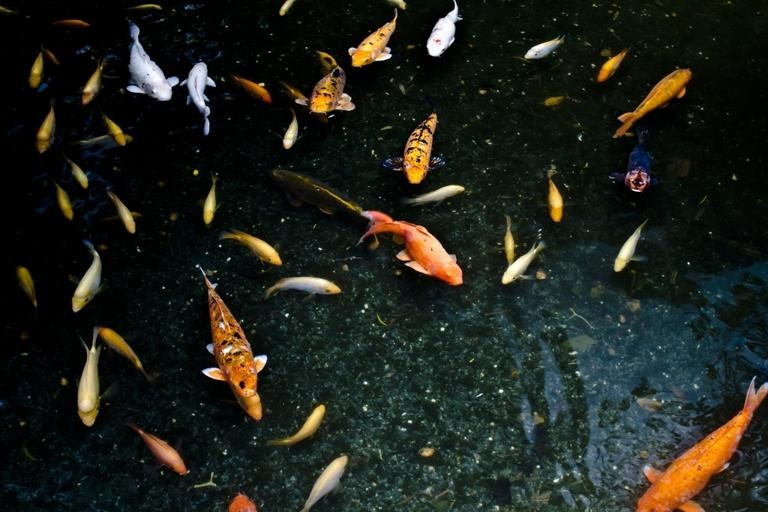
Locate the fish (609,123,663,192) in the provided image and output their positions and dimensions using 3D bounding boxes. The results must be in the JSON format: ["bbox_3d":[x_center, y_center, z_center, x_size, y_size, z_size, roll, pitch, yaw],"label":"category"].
[{"bbox_3d":[2.204,-0.764,8.161,0.418,0.273,0.621,-1,53,23],"label":"fish"}]

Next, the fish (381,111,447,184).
[{"bbox_3d":[0.271,-0.861,8.151,0.343,0.285,0.723,8,53,15],"label":"fish"}]

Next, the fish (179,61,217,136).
[{"bbox_3d":[-1.588,-1.322,8.188,0.267,0.268,0.669,-13,70,-23],"label":"fish"}]

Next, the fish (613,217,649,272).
[{"bbox_3d":[2.099,-0.027,7.991,0.149,0.213,0.538,21,66,18],"label":"fish"}]

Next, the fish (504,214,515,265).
[{"bbox_3d":[1.072,-0.154,8.080,0.089,0.103,0.369,2,73,2],"label":"fish"}]

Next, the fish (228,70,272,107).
[{"bbox_3d":[-1.168,-1.436,8.343,0.326,0.143,0.082,31,82,10],"label":"fish"}]

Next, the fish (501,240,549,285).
[{"bbox_3d":[1.195,0.076,8.084,0.334,0.142,0.096,-51,47,0],"label":"fish"}]

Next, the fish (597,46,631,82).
[{"bbox_3d":[1.960,-1.616,8.265,0.114,0.212,0.502,41,48,6],"label":"fish"}]

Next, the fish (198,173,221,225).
[{"bbox_3d":[-1.472,-0.477,8.152,0.099,0.196,0.416,3,61,-3],"label":"fish"}]

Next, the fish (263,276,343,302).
[{"bbox_3d":[-0.676,0.254,7.987,0.623,0.234,0.237,1,56,3],"label":"fish"}]

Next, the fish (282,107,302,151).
[{"bbox_3d":[-0.792,-1.080,8.224,0.103,0.129,0.326,6,81,-1],"label":"fish"}]

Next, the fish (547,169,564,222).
[{"bbox_3d":[1.470,-0.528,8.158,0.134,0.272,0.414,0,57,7],"label":"fish"}]

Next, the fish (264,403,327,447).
[{"bbox_3d":[-0.676,1.446,7.788,0.271,0.130,0.471,44,93,-8],"label":"fish"}]

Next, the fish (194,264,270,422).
[{"bbox_3d":[-1.253,0.784,7.933,0.423,0.358,1.270,-16,80,-13],"label":"fish"}]

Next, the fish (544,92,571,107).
[{"bbox_3d":[1.500,-1.342,8.319,0.212,0.039,0.087,-11,57,1],"label":"fish"}]

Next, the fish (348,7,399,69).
[{"bbox_3d":[-0.071,-1.812,8.354,0.235,0.213,0.586,28,73,14],"label":"fish"}]

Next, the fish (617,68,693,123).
[{"bbox_3d":[2.365,-1.371,8.184,0.760,0.246,0.173,-30,57,-11],"label":"fish"}]

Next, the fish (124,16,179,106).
[{"bbox_3d":[-2.097,-1.634,8.355,0.346,0.276,0.793,-21,74,-27],"label":"fish"}]

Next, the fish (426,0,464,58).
[{"bbox_3d":[0.527,-1.912,8.362,0.164,0.241,0.624,17,70,10],"label":"fish"}]

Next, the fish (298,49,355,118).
[{"bbox_3d":[-0.461,-1.458,8.357,0.398,0.404,0.923,6,50,-5],"label":"fish"}]
